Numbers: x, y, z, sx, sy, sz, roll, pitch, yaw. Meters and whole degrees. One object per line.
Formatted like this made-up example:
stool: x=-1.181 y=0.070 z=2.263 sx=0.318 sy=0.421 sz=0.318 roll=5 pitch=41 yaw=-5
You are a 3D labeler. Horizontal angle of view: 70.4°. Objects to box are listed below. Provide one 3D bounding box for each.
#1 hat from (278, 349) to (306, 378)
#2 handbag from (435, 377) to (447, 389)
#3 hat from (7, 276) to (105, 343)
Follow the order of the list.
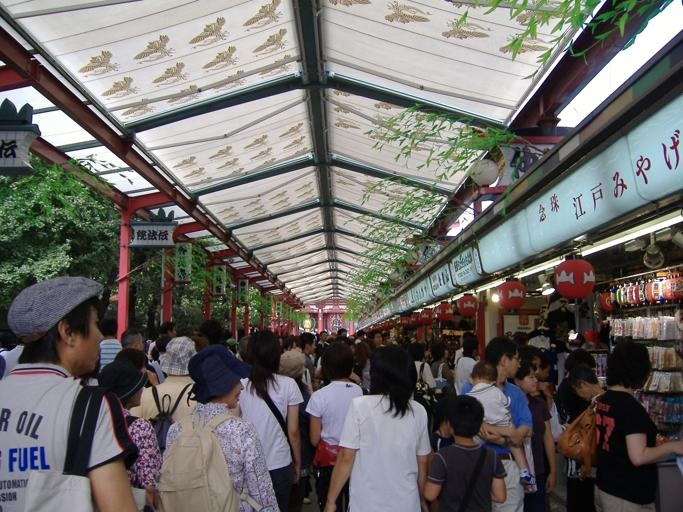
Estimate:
hat: x=-0.452 y=0.974 z=4.416 sx=0.282 sy=0.258 sz=0.196 roll=-1 pitch=-2 yaw=-22
handbag: x=1.402 y=1.815 z=6.826 sx=0.161 sy=0.193 sz=0.214 roll=-3 pitch=-44 yaw=9
hat: x=-0.988 y=0.164 z=1.705 sx=0.232 sy=0.142 sz=0.281 roll=-9 pitch=19 yaw=44
